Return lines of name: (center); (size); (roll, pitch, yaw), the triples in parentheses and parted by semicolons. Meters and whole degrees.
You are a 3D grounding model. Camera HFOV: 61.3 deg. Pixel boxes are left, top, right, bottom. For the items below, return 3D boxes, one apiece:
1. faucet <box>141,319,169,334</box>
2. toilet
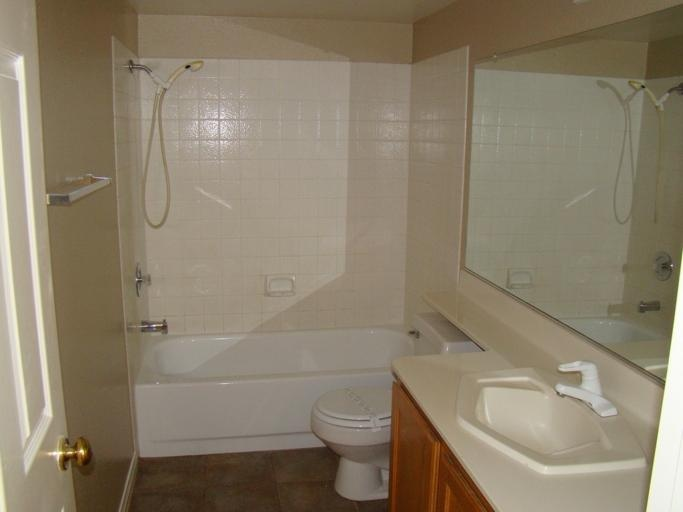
faucet: (-1.136, 0.428, 3.508); (0.123, 0.060, 0.074); (1, 5, -18)
toilet: (0.245, 0.836, 3.176); (0.837, 0.959, 0.567); (1, 12, -7)
